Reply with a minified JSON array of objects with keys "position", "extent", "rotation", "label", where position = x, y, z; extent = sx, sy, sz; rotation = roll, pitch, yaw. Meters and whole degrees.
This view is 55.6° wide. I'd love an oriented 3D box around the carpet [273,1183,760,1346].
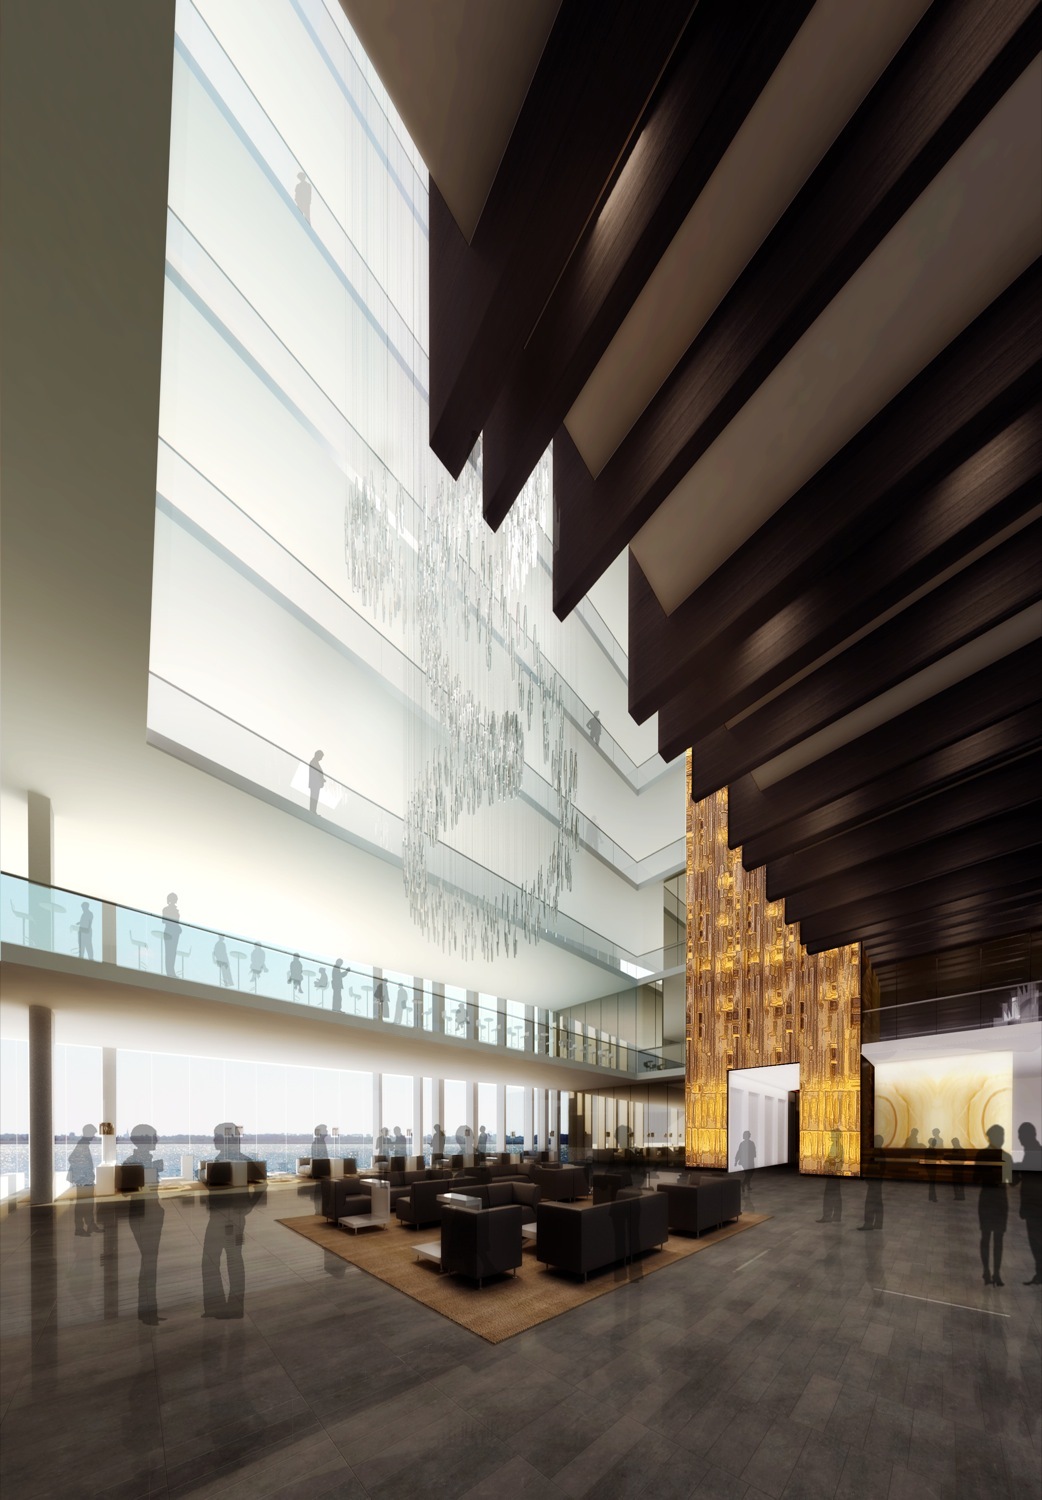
[{"position":[0.182,4.838,9.955],"extent":[5.227,0.265,6.806],"rotation":[9,-22,-32],"label":"carpet"}]
